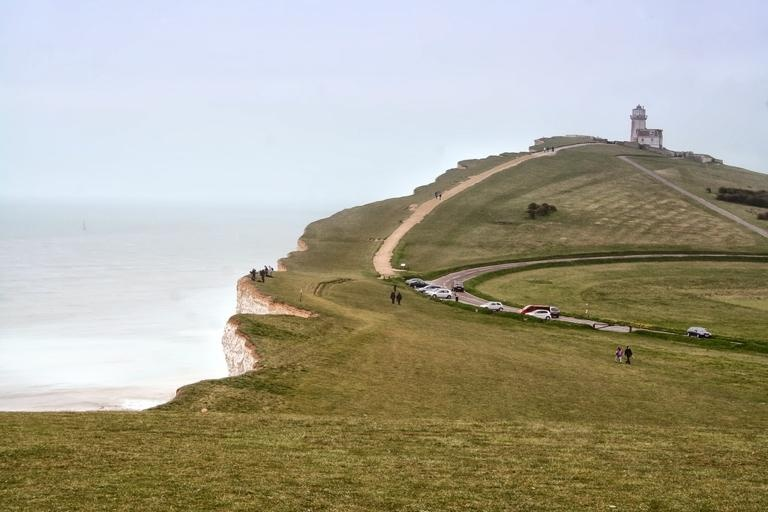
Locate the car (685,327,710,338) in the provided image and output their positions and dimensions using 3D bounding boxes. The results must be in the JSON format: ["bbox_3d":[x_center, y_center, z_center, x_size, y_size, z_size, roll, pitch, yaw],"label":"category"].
[{"bbox_3d":[36.432,8.950,97.798,2.464,0.643,1.262,-1,0,25],"label":"car"}]

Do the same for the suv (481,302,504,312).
[{"bbox_3d":[13.941,6.544,108.155,2.826,0.691,1.235,2,-3,-2],"label":"suv"}]

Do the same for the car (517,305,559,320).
[{"bbox_3d":[19.610,7.162,105.853,4.605,1.050,1.915,0,3,-3],"label":"car"}]
